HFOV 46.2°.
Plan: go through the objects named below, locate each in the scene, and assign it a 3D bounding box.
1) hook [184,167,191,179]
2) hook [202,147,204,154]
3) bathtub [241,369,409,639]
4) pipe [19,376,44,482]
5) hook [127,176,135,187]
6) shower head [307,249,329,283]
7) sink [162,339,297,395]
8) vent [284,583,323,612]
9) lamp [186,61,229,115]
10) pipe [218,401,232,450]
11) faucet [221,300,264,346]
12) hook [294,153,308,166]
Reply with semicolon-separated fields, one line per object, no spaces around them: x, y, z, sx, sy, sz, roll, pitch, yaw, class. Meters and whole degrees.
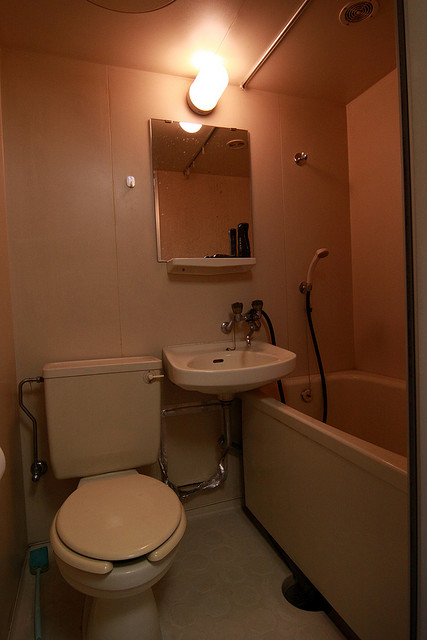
-0.110;-0.614;2.096;0.006;0.047;0.027;7;12;43;hook
-0.044;-0.718;2.126;0.008;0.009;0.031;-7;39;-3;hook
0.342;0.609;1.611;0.409;0.509;0.793;-1;2;-14;bathtub
-0.672;0.396;1.831;0.082;0.380;0.076;-2;12;-33;pipe
-0.330;-0.556;2.020;0.033;0.036;0.008;-5;1;-23;hook
0.479;-0.246;2.327;0.085;0.165;0.252;0;10;11;shower head
0.049;0.206;1.949;0.507;0.173;0.474;-3;8;-15;sink
0.292;0.891;1.608;0.091;0.017;0.093;7;-5;-11;vent
-0.032;-0.944;2.029;0.104;0.102;0.160;22;-16;-13;lamp
0.054;0.436;2.108;0.039;0.217;0.058;-2;9;-2;pipe
0.141;0.027;2.201;0.177;0.263;0.148;-13;21;-32;faucet
0.409;-0.754;2.351;0.058;0.056;0.030;-5;10;-23;hook
